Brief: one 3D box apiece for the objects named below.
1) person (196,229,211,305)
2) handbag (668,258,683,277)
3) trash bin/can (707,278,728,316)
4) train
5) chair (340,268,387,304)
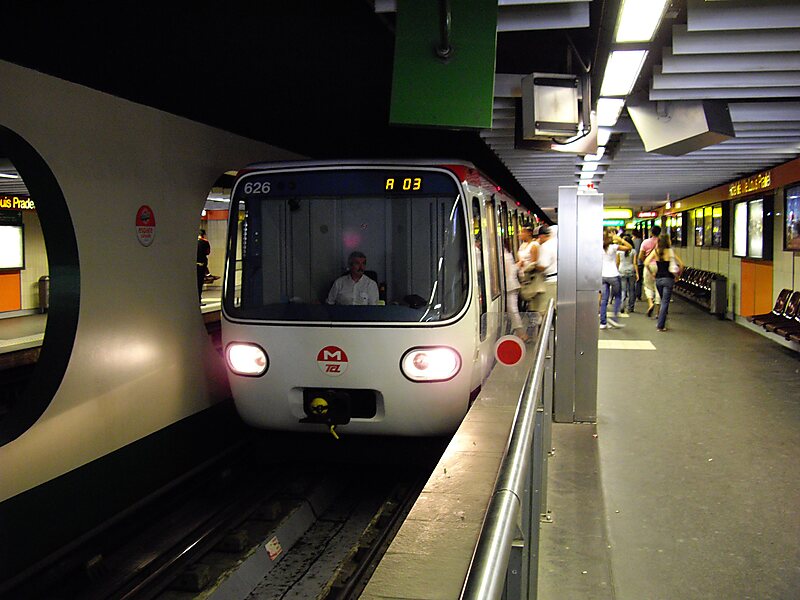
[{"bbox_3d":[-3.012,-0.670,8.439,0.195,0.784,0.581,-3,5,-17],"label":"person"},{"bbox_3d":[6.316,-0.774,12.647,0.368,0.567,0.206,0,6,31],"label":"handbag"},{"bbox_3d":[8.696,-0.125,14.993,0.420,1.127,0.435,2,5,32],"label":"trash bin/can"},{"bbox_3d":[0.145,-0.344,8.924,2.488,2.947,7.830,1,5,12],"label":"train"},{"bbox_3d":[-0.365,-0.112,5.269,0.457,0.491,0.270,0,-7,6],"label":"chair"}]
